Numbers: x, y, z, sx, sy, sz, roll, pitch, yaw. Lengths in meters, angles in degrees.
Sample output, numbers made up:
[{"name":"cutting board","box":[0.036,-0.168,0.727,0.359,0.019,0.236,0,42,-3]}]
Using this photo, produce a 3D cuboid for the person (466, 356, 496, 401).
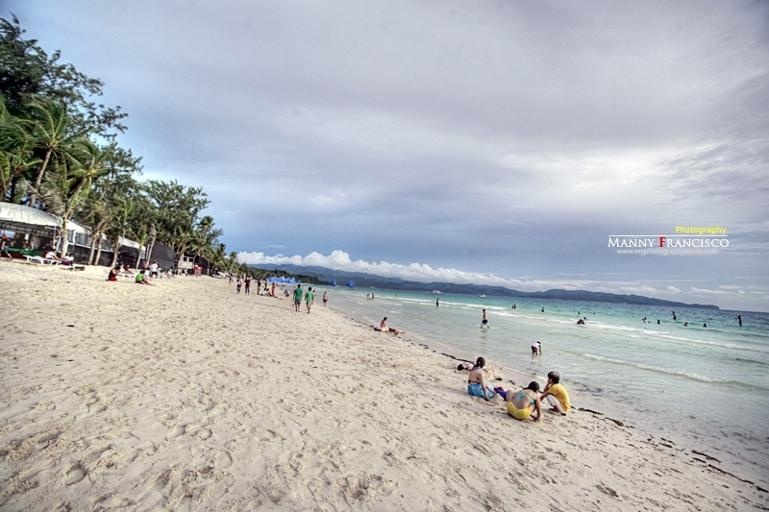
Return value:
[{"name":"person","box":[3.599,4.522,14.884,1.018,1.484,0.579,2,-3,17]}]

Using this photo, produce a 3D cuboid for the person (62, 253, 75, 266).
[{"name":"person","box":[-26.627,0.321,34.014,1.096,0.518,1.263,13,-1,-33]}]

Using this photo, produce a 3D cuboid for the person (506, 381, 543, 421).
[{"name":"person","box":[4.930,5.124,14.149,1.340,0.825,1.778,10,5,33]}]

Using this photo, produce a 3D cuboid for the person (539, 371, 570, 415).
[{"name":"person","box":[6.133,4.941,14.417,0.895,1.488,0.601,2,-3,21]}]
